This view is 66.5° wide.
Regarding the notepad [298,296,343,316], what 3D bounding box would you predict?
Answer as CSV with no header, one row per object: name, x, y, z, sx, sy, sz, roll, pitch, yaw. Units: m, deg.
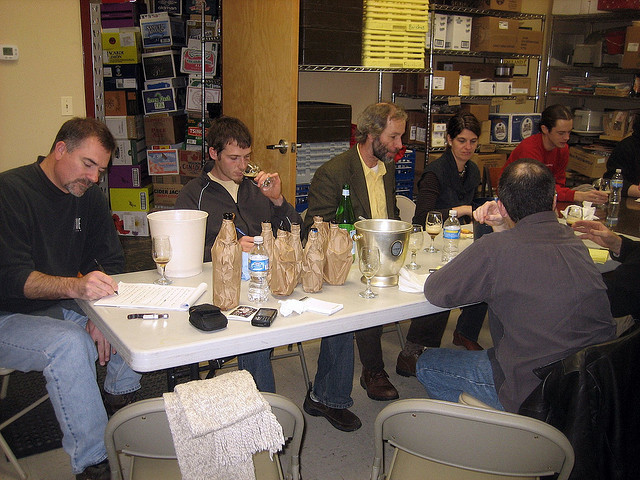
notepad,0.003,0.249,1.845,0.163,0.032,0.100,3,15,19

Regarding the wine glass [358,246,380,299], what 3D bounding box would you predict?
wine glass,0.205,0.118,1.991,0.080,0.207,0.137,3,15,17

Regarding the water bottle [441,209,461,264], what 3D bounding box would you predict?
water bottle,0.654,-0.034,2.436,0.085,0.230,0.442,2,15,15

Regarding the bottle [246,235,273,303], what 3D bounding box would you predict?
bottle,-0.244,0.104,1.917,0.105,0.261,0.153,-4,15,-7

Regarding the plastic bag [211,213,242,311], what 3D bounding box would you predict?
plastic bag,-0.356,0.079,1.865,0.106,0.363,0.128,8,11,36

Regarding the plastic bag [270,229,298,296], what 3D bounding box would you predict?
plastic bag,-0.154,0.091,1.965,0.087,0.260,0.104,5,19,-18

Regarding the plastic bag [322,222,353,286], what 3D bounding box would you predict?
plastic bag,0.080,0.055,2.101,0.162,0.250,0.143,4,7,26
